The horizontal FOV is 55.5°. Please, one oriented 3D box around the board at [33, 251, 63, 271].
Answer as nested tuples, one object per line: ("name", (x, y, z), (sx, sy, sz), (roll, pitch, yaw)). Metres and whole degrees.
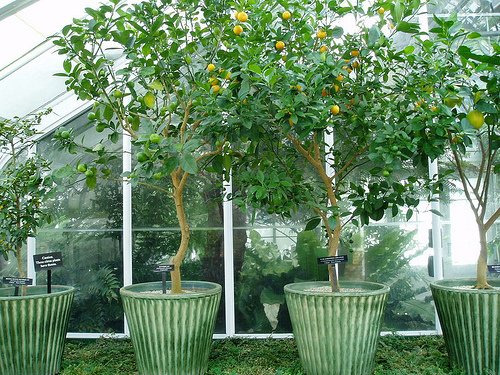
("board", (-1.725, 0.630, 4.058), (0.011, 0.164, 0.296), (-12, -8, 44))
